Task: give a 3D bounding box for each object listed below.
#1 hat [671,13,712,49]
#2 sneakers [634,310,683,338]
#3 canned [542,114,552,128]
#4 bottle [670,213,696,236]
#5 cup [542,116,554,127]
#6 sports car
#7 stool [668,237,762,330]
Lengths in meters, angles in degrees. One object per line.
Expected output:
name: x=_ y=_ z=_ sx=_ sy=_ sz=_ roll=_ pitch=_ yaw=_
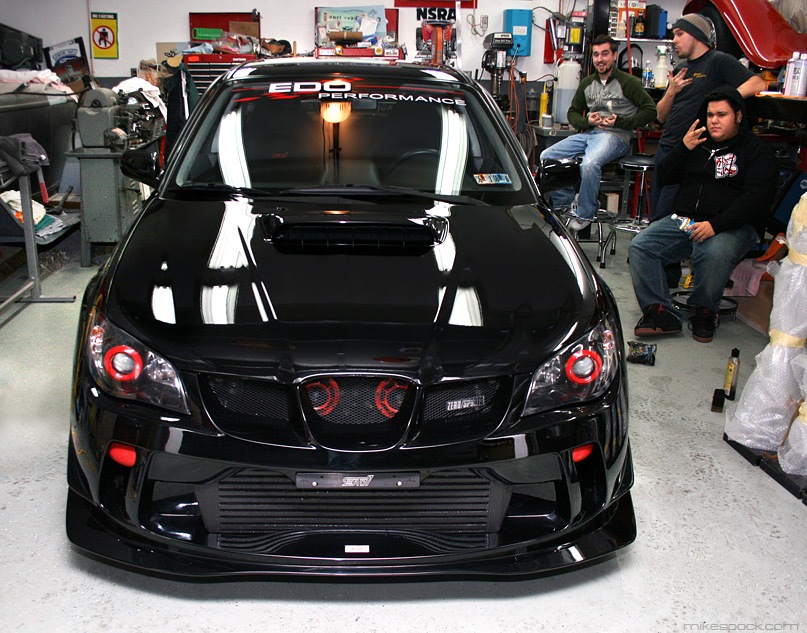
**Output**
hat: x=2.366 y=-2.332 z=4.520 sx=0.323 sy=0.237 sz=0.190 roll=1 pitch=21 yaw=-2
sneakers: x=1.593 y=0.064 z=3.567 sx=0.363 sy=0.161 sz=0.138 roll=-1 pitch=0 yaw=-7
canned: x=1.727 y=-2.346 z=6.717 sx=0.171 sy=0.160 sz=0.119 roll=0 pitch=8 yaw=-3
bottle: x=1.761 y=-0.578 z=3.523 sx=0.051 sy=0.095 sz=0.132 roll=-35 pitch=52 yaw=-25
cup: x=1.731 y=-2.348 z=6.715 sx=0.146 sy=0.135 sz=0.110 roll=5 pitch=12 yaw=10
sports car: x=-0.285 y=-0.485 z=2.297 sx=1.558 sy=1.072 sz=2.621 roll=-4 pitch=32 yaw=-12
stool: x=1.936 y=-0.247 z=3.593 sx=0.473 sy=0.680 sz=0.566 roll=15 pitch=25 yaw=31
